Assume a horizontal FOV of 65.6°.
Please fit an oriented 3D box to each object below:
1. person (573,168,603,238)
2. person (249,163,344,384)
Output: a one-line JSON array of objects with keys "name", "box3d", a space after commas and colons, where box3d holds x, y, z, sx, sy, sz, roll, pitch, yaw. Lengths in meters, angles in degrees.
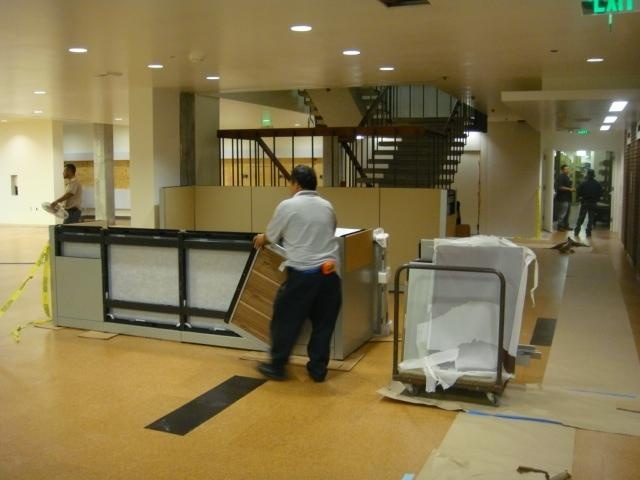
[{"name": "person", "box3d": [8.329, -1.117, 15.367, 0.702, 2.055, 1.452, 4, 8, 29]}, {"name": "person", "box3d": [-0.185, 0.309, 4.706, 0.743, 2.012, 0.444, 0, 7, 1]}]
